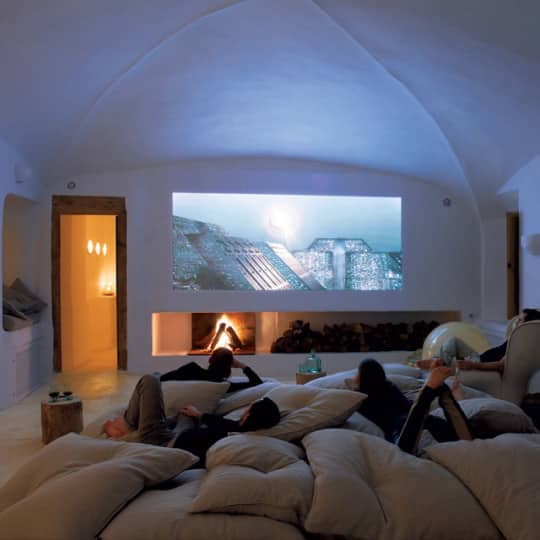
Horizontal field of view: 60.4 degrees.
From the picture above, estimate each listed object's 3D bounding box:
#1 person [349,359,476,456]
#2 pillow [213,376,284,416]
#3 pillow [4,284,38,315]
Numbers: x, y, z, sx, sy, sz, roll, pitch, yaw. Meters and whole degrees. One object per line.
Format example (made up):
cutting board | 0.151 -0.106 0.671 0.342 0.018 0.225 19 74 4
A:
person | 0.706 0.744 2.531 0.739 0.308 0.761 -5 -3 -16
pillow | -0.183 0.858 3.093 0.273 0.078 0.230 -19 -12 -34
pillow | -2.869 0.347 5.196 0.322 0.330 0.709 0 -2 -12
